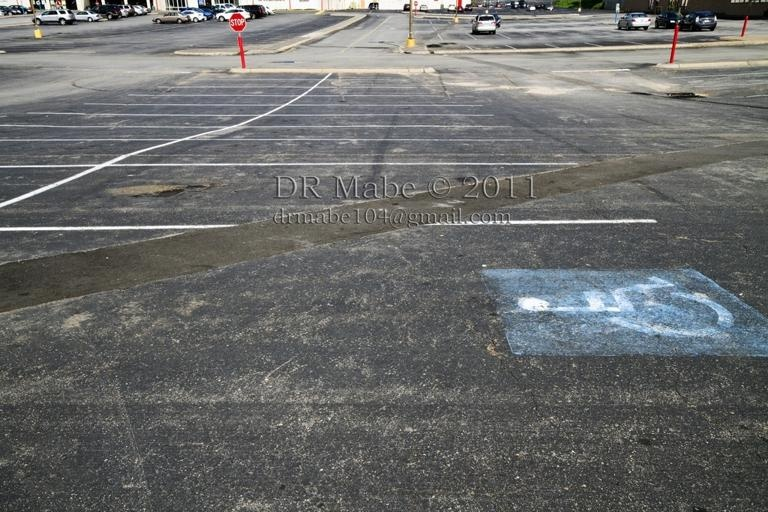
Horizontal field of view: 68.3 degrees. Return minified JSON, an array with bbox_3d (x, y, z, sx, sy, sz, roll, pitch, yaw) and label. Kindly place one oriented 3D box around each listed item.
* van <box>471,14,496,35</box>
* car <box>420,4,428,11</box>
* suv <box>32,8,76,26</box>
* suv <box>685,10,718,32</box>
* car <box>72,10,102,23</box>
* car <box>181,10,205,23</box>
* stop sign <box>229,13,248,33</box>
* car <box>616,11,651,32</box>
[{"bbox_3d":[9.769,-22.224,54.851,2.067,1.253,3.239,1,26,4],"label":"van"},{"bbox_3d":[9.177,-55.668,127.963,2.991,0.987,3.253,2,25,3],"label":"car"},{"bbox_3d":[-38.869,-28.209,67.345,3.601,1.836,5.125,-7,23,-14],"label":"suv"},{"bbox_3d":[25.983,-19.160,46.596,1.449,1.472,3.141,2,23,8],"label":"suv"},{"bbox_3d":[-37.085,-29.822,71.056,3.445,0.781,1.284,3,36,-2],"label":"car"},{"bbox_3d":[-23.280,-29.448,70.188,2.904,0.706,1.049,0,38,-10],"label":"car"},{"bbox_3d":[-7.741,-12.395,30.397,0.701,0.901,0.931,-9,26,-14],"label":"stop sign"},{"bbox_3d":[22.951,-21.337,51.897,2.315,1.388,2.843,3,23,11],"label":"car"}]
